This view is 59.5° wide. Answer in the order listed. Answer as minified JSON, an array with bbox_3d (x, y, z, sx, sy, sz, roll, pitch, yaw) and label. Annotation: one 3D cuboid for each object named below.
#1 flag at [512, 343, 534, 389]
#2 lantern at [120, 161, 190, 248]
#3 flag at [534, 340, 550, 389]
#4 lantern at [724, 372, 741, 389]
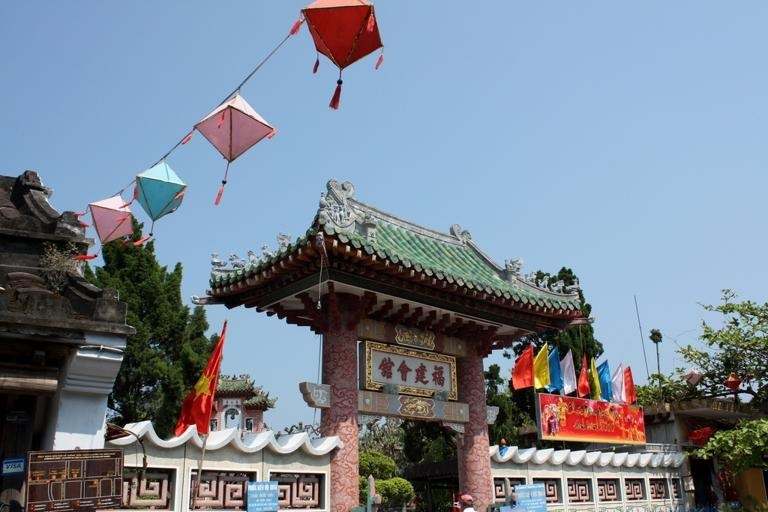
[{"bbox_3d":[4.124,3.336,19.933,0.653,1.209,0.737,-5,-26,10],"label":"flag"},{"bbox_3d":[-5.264,-1.490,15.612,1.271,2.002,1.420,8,-18,-9],"label":"lantern"},{"bbox_3d":[4.758,3.262,20.428,0.499,1.367,1.071,-5,-26,12],"label":"flag"},{"bbox_3d":[14.068,5.001,27.162,0.459,0.767,0.926,-14,-29,27],"label":"lantern"}]
